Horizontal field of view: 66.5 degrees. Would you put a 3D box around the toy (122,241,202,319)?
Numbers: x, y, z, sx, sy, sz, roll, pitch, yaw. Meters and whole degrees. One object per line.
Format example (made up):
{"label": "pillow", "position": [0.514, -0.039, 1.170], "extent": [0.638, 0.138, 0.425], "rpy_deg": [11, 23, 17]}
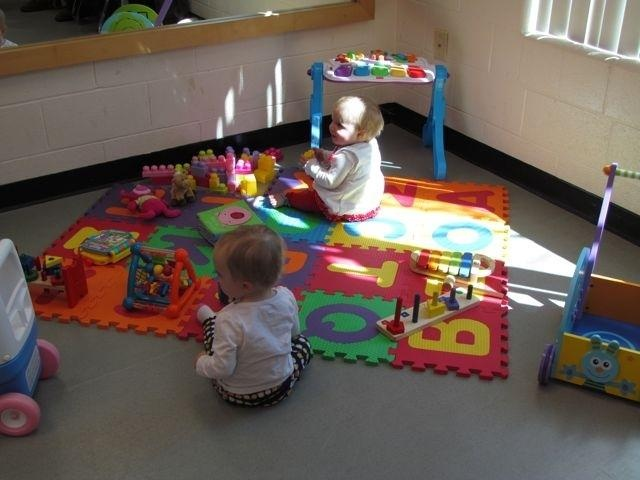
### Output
{"label": "toy", "position": [-0.751, 0.201, 2.393], "extent": [0.306, 0.358, 0.341], "rpy_deg": [9, 34, 8]}

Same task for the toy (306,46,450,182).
{"label": "toy", "position": [0.392, -0.865, 3.337], "extent": [0.909, 0.824, 0.622], "rpy_deg": [2, 43, 1]}

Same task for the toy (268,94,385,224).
{"label": "toy", "position": [0.114, -0.634, 3.052], "extent": [0.713, 0.827, 0.542], "rpy_deg": [11, 40, 8]}
